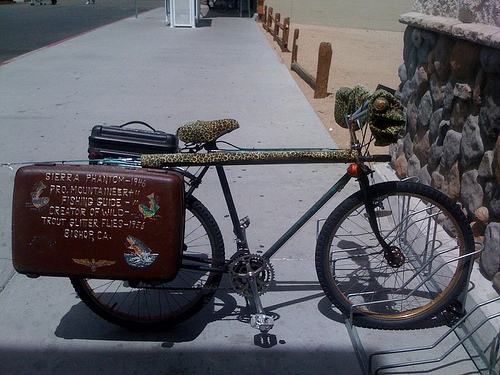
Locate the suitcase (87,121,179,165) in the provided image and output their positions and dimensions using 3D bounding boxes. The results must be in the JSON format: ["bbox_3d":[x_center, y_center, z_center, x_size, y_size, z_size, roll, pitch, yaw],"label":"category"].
[{"bbox_3d":[-0.855,-0.320,3.786,0.601,0.372,0.741,10,2,-1],"label":"suitcase"}]

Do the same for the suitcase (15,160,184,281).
[{"bbox_3d":[-1.005,0.183,3.440,1.051,0.767,0.560,4,10,-12],"label":"suitcase"}]

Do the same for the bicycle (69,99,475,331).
[{"bbox_3d":[0.147,0.281,3.574,2.975,1.579,0.964,0,12,-2],"label":"bicycle"}]

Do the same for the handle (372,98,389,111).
[{"bbox_3d":[0.799,-0.508,3.100,0.073,0.075,0.044,8,-2,19],"label":"handle"}]
